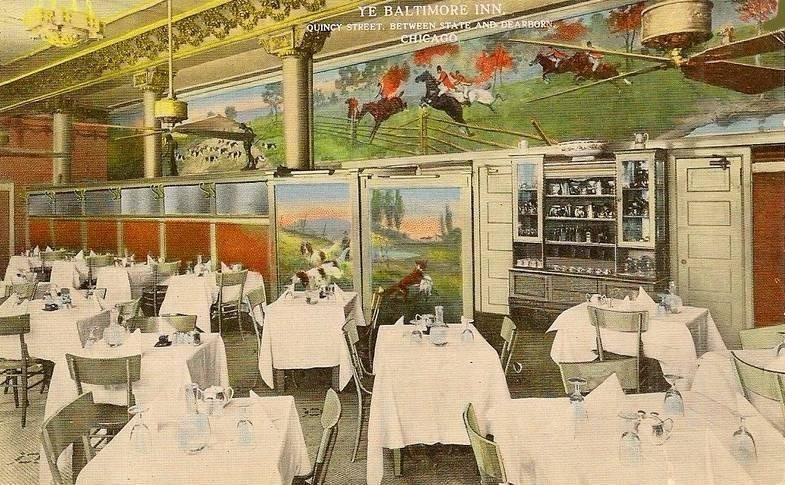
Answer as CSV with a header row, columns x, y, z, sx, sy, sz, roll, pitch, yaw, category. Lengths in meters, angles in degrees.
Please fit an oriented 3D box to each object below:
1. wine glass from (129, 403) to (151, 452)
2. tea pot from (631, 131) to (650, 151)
x,y,z,sx,sy,sz,roll,pitch,yaw,category
-2.429,1.771,6.805,0.187,0.335,0.317,-2,3,-20,wine glass
3.535,-1.432,10.304,0.255,0.302,0.338,-7,9,-33,tea pot
